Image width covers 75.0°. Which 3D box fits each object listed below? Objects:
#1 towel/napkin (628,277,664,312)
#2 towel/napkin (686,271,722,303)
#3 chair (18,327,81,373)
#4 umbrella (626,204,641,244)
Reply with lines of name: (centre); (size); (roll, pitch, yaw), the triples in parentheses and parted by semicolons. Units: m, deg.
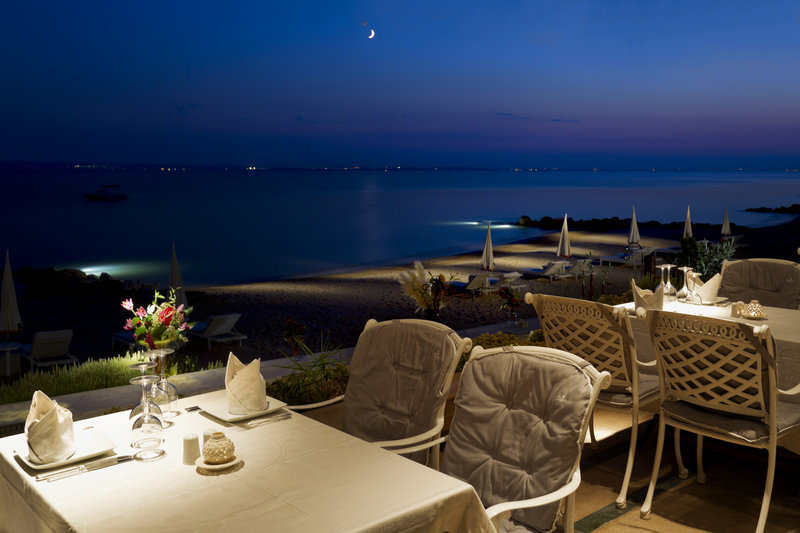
towel/napkin: (2.377, 0.266, 4.990); (0.414, 0.384, 0.306); (-3, -3, 30)
towel/napkin: (3.162, 0.235, 5.453); (0.386, 0.323, 0.289); (-1, -2, 13)
chair: (-4.308, 0.985, 6.299); (0.758, 0.413, 0.433); (3, 4, 40)
umbrella: (4.604, -0.768, 10.155); (0.246, 0.635, 0.775); (8, 15, 23)
